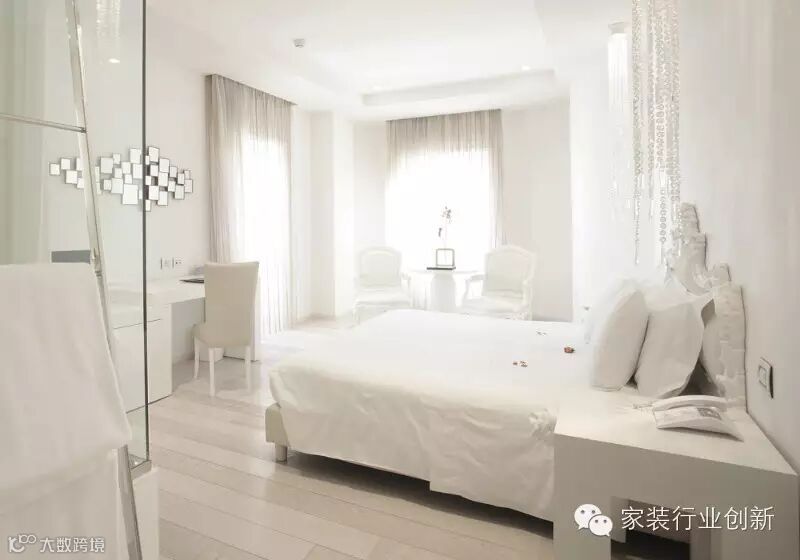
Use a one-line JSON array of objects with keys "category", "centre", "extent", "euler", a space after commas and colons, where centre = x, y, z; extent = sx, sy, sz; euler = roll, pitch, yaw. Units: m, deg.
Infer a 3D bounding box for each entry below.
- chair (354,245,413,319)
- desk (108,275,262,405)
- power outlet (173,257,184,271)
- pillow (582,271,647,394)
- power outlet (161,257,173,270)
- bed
[{"category": "chair", "centre": [-0.246, 0.118, 6.024], "extent": [0.697, 1.010, 0.732], "euler": [-1, 4, -21]}, {"category": "desk", "centre": [-1.382, 0.400, 3.651], "extent": [0.472, 0.585, 0.894], "euler": [3, 6, 26]}, {"category": "power outlet", "centre": [-2.032, -0.150, 5.020], "extent": [0.013, 0.127, 0.126], "euler": [0, 0, 31]}, {"category": "pillow", "centre": [1.099, 0.279, 2.815], "extent": [0.167, 0.357, 0.591], "euler": [18, 6, 9]}, {"category": "power outlet", "centre": [-2.090, -0.148, 4.910], "extent": [0.012, 0.084, 0.116], "euler": [0, 0, 21]}, {"category": "bed", "centre": [0.554, 0.309, 3.637], "extent": [2.282, 1.372, 2.315], "euler": [5, 9, 26]}]
